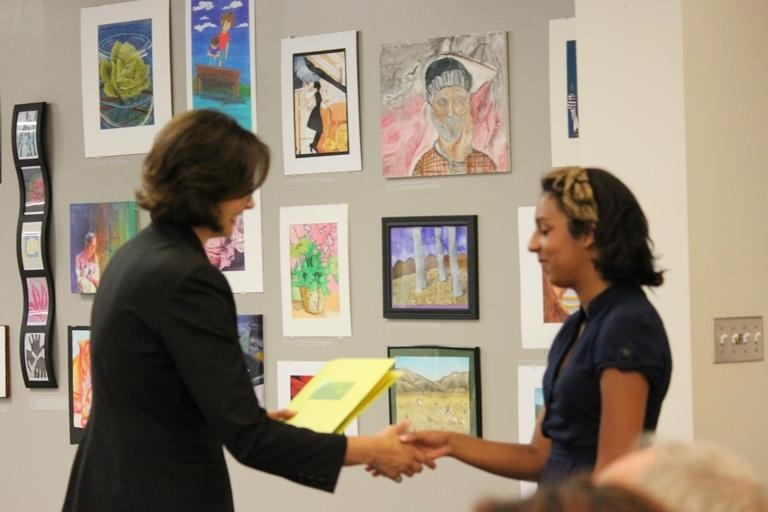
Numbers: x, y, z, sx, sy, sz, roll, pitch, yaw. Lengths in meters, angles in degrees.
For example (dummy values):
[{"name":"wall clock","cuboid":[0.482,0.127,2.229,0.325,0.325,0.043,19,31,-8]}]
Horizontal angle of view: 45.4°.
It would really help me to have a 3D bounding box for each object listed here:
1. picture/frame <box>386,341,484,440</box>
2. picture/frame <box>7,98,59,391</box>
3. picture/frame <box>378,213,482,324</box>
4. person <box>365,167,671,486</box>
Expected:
[{"name":"picture/frame","cuboid":[0.284,0.707,4.811,0.471,0.520,0.037,0,0,12]},{"name":"picture/frame","cuboid":[-2.049,-0.056,5.395,0.257,1.672,0.098,0,0,20]},{"name":"picture/frame","cuboid":[0.265,0.070,4.928,0.537,0.626,0.047,-1,-3,10]},{"name":"person","cuboid":[0.690,0.454,3.960,1.005,1.676,1.048,6,-10,-32]}]
